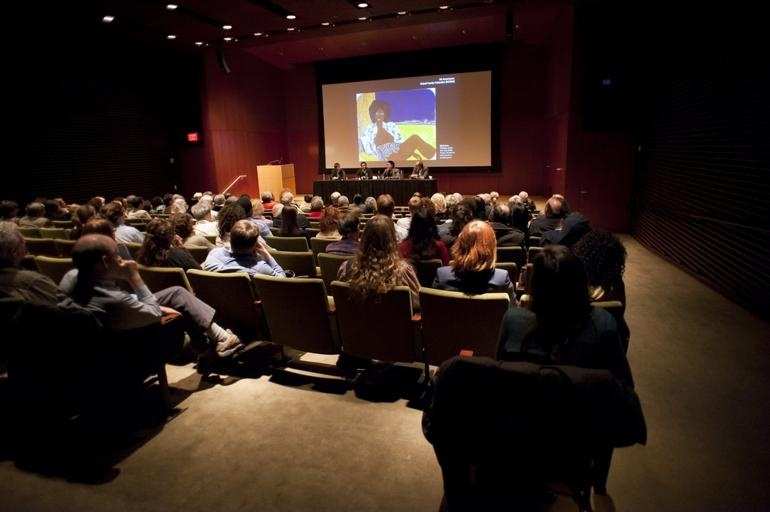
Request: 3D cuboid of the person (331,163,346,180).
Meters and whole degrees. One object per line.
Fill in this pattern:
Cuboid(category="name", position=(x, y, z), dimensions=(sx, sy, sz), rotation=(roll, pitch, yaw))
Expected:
Cuboid(category="person", position=(-1.366, -2.451, 14.300), dimensions=(0.351, 0.454, 1.479), rotation=(0, 11, -7))

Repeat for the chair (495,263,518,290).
Cuboid(category="chair", position=(1.168, 0.199, 4.791), dimensions=(0.167, 0.323, 0.196), rotation=(4, 49, 16))

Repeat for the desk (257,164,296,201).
Cuboid(category="desk", position=(-3.643, -2.415, 16.193), dimensions=(1.306, 1.112, 0.713), rotation=(5, 16, 27))

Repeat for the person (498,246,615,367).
Cuboid(category="person", position=(1.273, 0.390, 3.581), dimensions=(0.687, 0.739, 0.417), rotation=(2, 35, 23))

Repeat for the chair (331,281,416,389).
Cuboid(category="chair", position=(-0.089, 0.654, 4.614), dimensions=(0.679, 1.006, 0.824), rotation=(2, 17, 18))

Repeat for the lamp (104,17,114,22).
Cuboid(category="lamp", position=(-6.032, -5.160, 10.740), dimensions=(0.137, 0.038, 0.149), rotation=(2, 3, 43))

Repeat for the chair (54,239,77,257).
Cuboid(category="chair", position=(-3.817, -0.093, 5.893), dimensions=(0.175, 0.230, 0.190), rotation=(-2, 24, -17))

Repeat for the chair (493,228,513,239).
Cuboid(category="chair", position=(1.393, -0.276, 5.837), dimensions=(0.143, 0.173, 0.127), rotation=(-3, 12, -8))

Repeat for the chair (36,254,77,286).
Cuboid(category="chair", position=(-3.340, 0.157, 5.017), dimensions=(0.220, 0.304, 0.255), rotation=(1, 38, -16))

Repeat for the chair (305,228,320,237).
Cuboid(category="chair", position=(-1.035, -0.335, 7.132), dimensions=(0.134, 0.183, 0.152), rotation=(13, 24, 27))

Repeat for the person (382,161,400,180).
Cuboid(category="person", position=(0.169, -2.352, 13.452), dimensions=(0.459, 0.462, 1.044), rotation=(1, 11, 0))

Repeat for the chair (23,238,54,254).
Cuboid(category="chair", position=(-4.444, -0.118, 6.336), dimensions=(0.146, 0.215, 0.180), rotation=(7, 23, -1))

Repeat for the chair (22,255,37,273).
Cuboid(category="chair", position=(-3.824, 0.086, 5.300), dimensions=(0.128, 0.175, 0.140), rotation=(16, 16, 37))

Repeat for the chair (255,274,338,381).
Cuboid(category="chair", position=(-0.828, 0.565, 4.659), dimensions=(0.618, 0.950, 0.846), rotation=(3, 12, 14))

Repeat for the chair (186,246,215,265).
Cuboid(category="chair", position=(-2.147, -0.029, 5.760), dimensions=(0.195, 0.283, 0.229), rotation=(1, 33, -8))

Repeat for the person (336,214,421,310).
Cuboid(category="person", position=(-0.069, 0.089, 4.695), dimensions=(0.777, 0.864, 0.455), rotation=(3, 27, 6))

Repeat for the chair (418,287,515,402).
Cuboid(category="chair", position=(0.648, 0.712, 4.420), dimensions=(0.720, 0.966, 0.795), rotation=(2, 17, 9))

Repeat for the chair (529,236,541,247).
Cuboid(category="chair", position=(1.931, -0.189, 6.378), dimensions=(0.142, 0.126, 0.153), rotation=(7, 21, 17))

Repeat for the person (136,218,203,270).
Cuboid(category="person", position=(-2.278, -0.108, 5.241), dimensions=(0.442, 0.421, 1.043), rotation=(9, -11, -12))

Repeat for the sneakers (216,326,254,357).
Cuboid(category="sneakers", position=(-1.534, 0.875, 5.004), dimensions=(0.165, 0.239, 0.364), rotation=(3, 10, 22))
